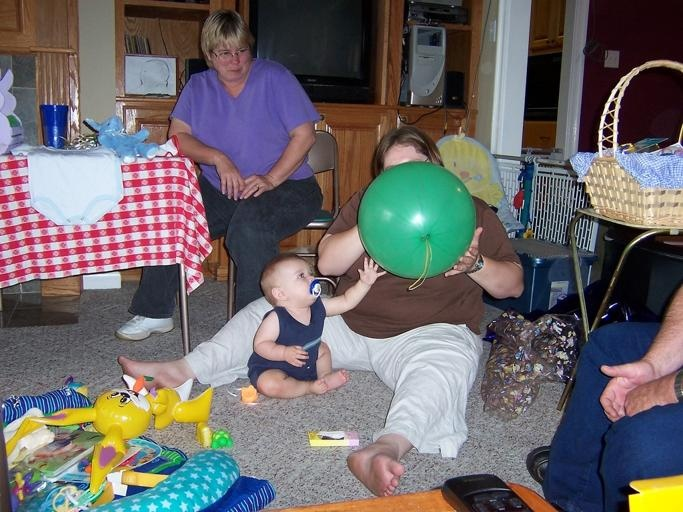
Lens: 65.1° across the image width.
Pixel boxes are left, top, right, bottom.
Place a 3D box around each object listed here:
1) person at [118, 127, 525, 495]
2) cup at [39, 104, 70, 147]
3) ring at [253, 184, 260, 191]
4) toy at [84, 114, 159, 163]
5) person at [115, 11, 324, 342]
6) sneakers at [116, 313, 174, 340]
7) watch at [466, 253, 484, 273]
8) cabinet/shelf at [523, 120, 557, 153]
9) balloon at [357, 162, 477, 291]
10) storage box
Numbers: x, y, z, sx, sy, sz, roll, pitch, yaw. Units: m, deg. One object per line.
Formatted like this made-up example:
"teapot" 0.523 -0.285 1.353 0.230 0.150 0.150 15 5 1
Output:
"person" 0.012 0.161 1.724 1.146 0.698 1.113 -3 20 -4
"cup" -1.201 -0.536 2.258 0.161 0.166 0.159 3 6 0
"ring" -0.367 -0.301 2.355 0.009 0.029 0.021 20 27 21
"toy" -0.856 -0.468 2.086 0.278 0.105 0.167 16 4 -17
"person" -0.541 -0.344 2.416 0.735 1.385 1.112 15 24 37
"sneakers" -0.909 0.330 2.527 0.264 0.111 0.096 -3 27 -33
"watch" 0.434 0.026 1.699 0.041 0.056 0.055 38 -21 -1
"cabinet/shelf" 2.076 -1.289 5.662 0.119 0.283 0.541 -2 17 -9
"balloon" 0.229 -0.081 1.614 0.349 0.384 0.344 -2 -4 -12
"storage box" 1.044 0.088 2.887 0.503 0.371 0.414 -4 13 -24
